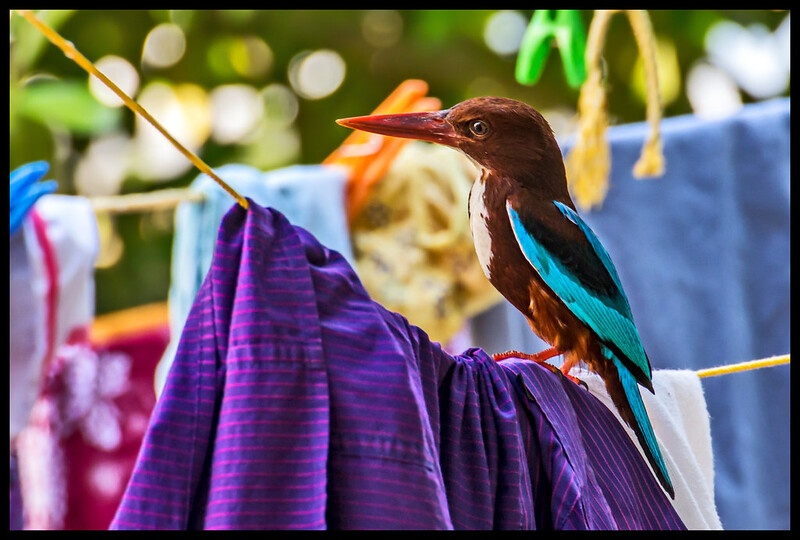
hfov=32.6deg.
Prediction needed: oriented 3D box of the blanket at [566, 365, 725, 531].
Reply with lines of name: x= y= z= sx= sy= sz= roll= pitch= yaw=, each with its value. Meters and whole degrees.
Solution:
blanket: x=0.707 y=0.473 z=3.738 sx=0.261 sy=0.507 sz=0.325 roll=-3 pitch=13 yaw=-26

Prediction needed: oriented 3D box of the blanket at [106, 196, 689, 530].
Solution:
blanket: x=-0.051 y=0.400 z=3.553 sx=0.866 sy=1.010 sz=1.300 roll=-10 pitch=-16 yaw=27
